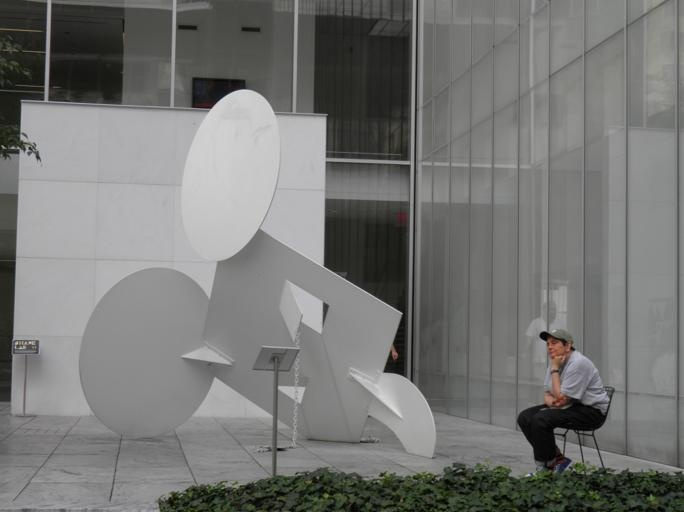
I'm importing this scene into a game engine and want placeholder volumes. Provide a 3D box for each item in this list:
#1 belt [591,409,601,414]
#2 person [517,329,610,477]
[{"bbox_3d":[3.789,2.283,12.750,0.115,0.081,0.026,29,-11,-30],"label":"belt"},{"bbox_3d":[3.286,2.110,12.935,1.179,2.043,0.958,2,1,-22],"label":"person"}]
